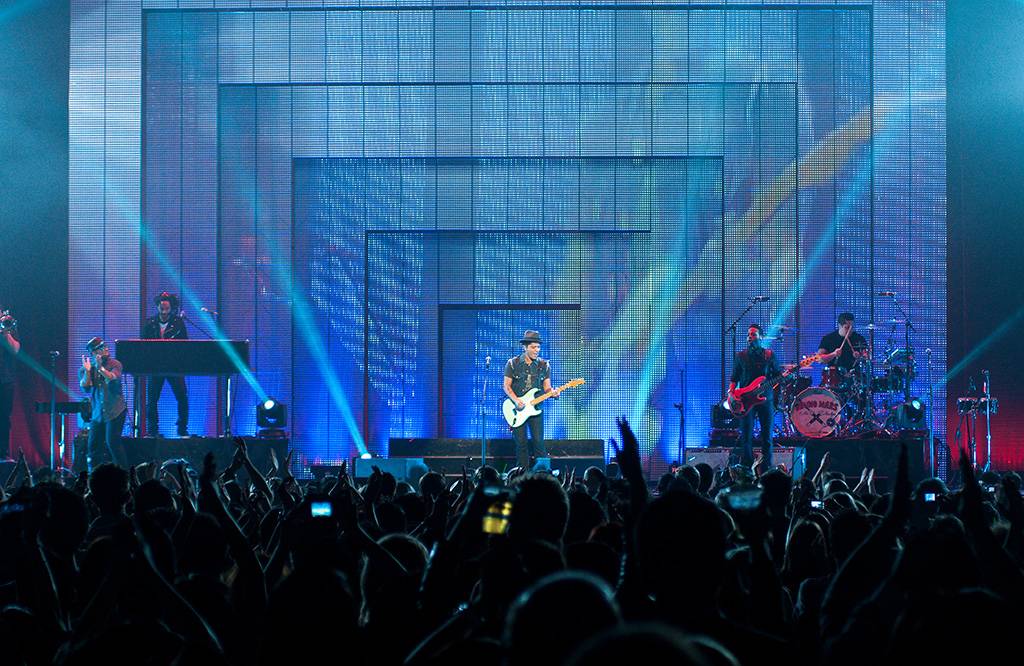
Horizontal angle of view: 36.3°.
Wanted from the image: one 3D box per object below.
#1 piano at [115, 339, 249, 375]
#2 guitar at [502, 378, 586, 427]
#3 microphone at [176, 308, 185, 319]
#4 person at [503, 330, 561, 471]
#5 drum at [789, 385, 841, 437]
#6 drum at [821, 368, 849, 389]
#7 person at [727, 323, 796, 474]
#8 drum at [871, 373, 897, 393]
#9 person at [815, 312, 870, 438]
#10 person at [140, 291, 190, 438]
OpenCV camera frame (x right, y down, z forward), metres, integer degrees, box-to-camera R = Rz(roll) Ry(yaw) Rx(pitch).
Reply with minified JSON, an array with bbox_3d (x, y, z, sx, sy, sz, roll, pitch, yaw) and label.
[{"bbox_3d":[-5.242,0.376,24.857,2.046,0.563,0.253,2,-6,-4],"label":"piano"},{"bbox_3d":[0.335,1.193,26.268,1.209,0.839,0.870,-1,1,-11],"label":"guitar"},{"bbox_3d":[-5.713,-0.342,26.970,0.200,0.051,0.210,3,30,0],"label":"microphone"},{"bbox_3d":[0.239,1.092,26.075,0.839,2.216,0.696,1,4,2],"label":"person"},{"bbox_3d":[4.868,1.220,25.252,0.859,0.886,0.545,1,17,-2],"label":"drum"},{"bbox_3d":[5.308,0.746,25.720,0.364,0.258,0.356,-1,-4,0],"label":"drum"},{"bbox_3d":[4.006,1.019,25.156,0.962,2.387,0.820,-2,4,-1],"label":"person"},{"bbox_3d":[6.148,0.830,25.831,0.484,0.293,0.312,2,-6,-2],"label":"drum"},{"bbox_3d":[5.557,0.660,26.052,0.821,2.105,0.719,-1,4,8],"label":"person"},{"bbox_3d":[-5.840,0.551,26.337,0.926,2.511,0.798,0,-6,3],"label":"person"}]
